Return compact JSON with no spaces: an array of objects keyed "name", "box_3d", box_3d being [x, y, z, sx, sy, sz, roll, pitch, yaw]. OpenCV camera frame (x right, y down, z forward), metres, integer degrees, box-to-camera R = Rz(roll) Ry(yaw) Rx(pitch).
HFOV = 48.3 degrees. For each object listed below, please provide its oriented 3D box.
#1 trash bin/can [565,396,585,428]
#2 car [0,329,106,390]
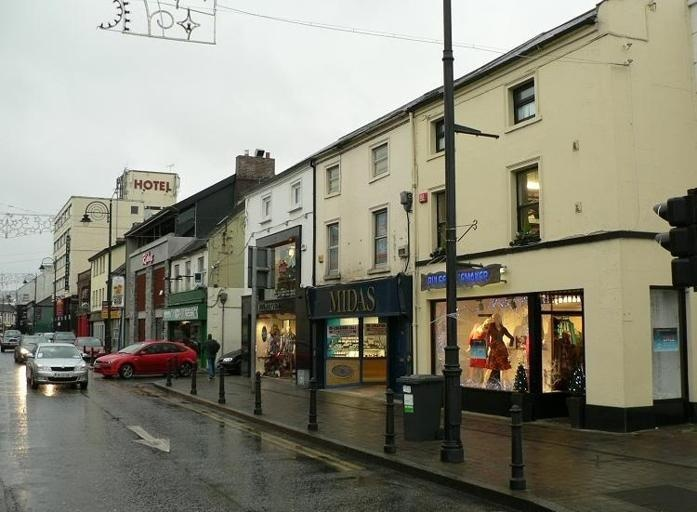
[{"name":"trash bin/can","box_3d":[5.474,3.749,18.721,0.432,0.764,0.316,-3,-9,22]},{"name":"car","box_3d":[-10.431,3.909,27.970,1.786,1.753,3.088,6,-11,-32]}]
